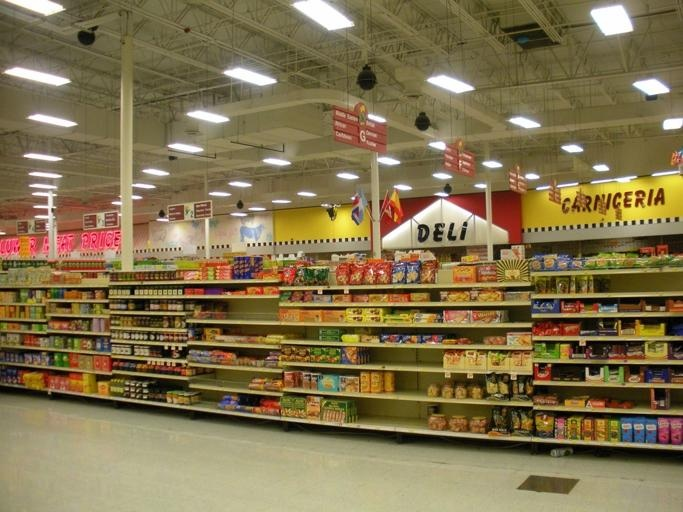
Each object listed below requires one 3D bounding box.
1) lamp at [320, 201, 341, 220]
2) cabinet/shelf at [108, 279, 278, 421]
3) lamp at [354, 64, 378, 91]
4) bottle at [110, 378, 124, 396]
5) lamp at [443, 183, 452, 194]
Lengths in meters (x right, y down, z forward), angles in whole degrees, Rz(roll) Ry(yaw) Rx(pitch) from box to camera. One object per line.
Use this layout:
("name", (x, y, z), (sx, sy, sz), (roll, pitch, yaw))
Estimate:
("lamp", (-0.427, -1.887, 25.708), (0.671, 0.881, 1.813), (-3, 9, 1))
("cabinet/shelf", (-2.442, 1.601, 10.123), (2.497, 1.563, 0.746), (-1, -4, 26))
("lamp", (0.440, -3.232, 10.679), (0.296, 0.491, 0.771), (-3, 9, 2))
("bottle", (-4.125, 2.388, 10.848), (0.304, 0.276, 0.285), (1, -3, 12))
("lamp", (3.864, -2.432, 21.576), (0.370, 0.359, 0.342), (2, 4, 0))
